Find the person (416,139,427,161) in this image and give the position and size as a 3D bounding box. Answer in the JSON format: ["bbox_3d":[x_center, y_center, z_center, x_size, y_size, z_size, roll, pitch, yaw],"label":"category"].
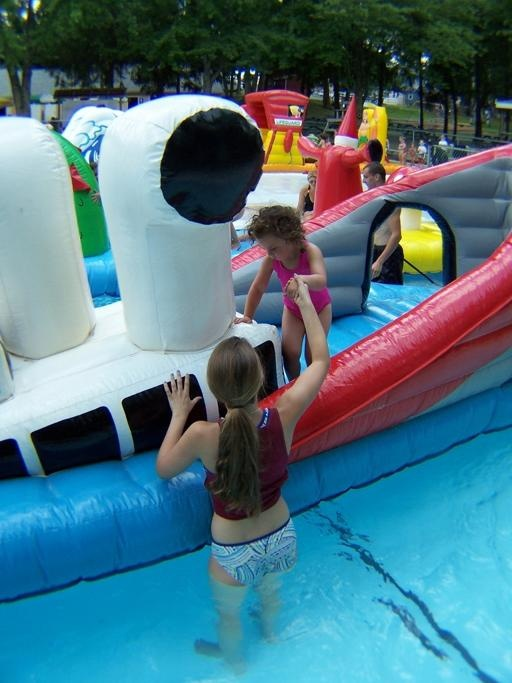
[{"bbox_3d":[4.827,-5.487,15.575,0.284,0.512,1.032,3,21,14],"label":"person"}]

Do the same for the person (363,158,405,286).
[{"bbox_3d":[1.067,-0.927,4.455,0.360,1.052,1.061,2,21,12],"label":"person"}]

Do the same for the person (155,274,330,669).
[{"bbox_3d":[-0.053,0.386,1.569,0.378,0.939,0.488,13,26,36],"label":"person"}]
